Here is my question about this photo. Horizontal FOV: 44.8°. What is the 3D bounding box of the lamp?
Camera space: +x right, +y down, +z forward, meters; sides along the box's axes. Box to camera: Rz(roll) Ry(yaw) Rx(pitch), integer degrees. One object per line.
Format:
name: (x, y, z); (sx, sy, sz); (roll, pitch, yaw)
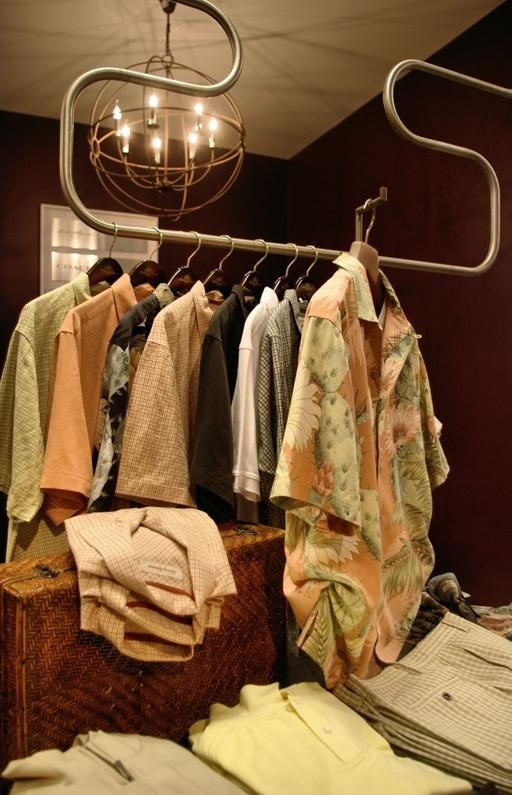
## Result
lamp: (-0.466, -1.233, 3.019); (0.798, 0.810, 1.754); (1, 12, -3)
